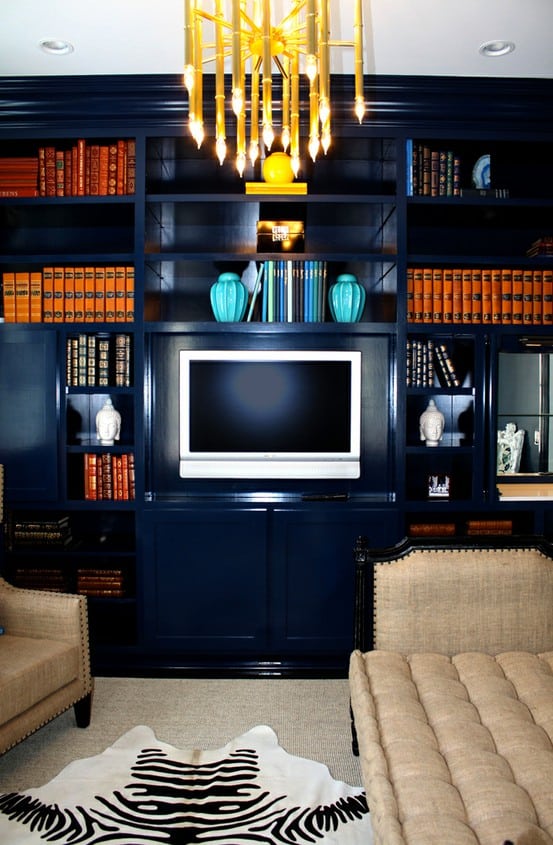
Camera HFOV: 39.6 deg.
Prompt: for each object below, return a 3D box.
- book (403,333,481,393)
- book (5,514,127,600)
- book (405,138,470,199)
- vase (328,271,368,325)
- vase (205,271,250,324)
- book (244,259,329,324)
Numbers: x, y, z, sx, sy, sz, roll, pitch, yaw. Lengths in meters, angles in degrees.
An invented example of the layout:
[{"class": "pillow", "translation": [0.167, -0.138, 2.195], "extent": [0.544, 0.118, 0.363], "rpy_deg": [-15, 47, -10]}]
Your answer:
[{"class": "book", "translation": [0.771, -0.267, 3.699], "extent": [0.280, 0.284, 0.068], "rpy_deg": [3, -5, 2]}, {"class": "book", "translation": [-0.996, 0.624, 3.700], "extent": [0.440, 0.441, 0.111], "rpy_deg": [-2, -19, -2]}, {"class": "book", "translation": [0.727, -1.154, 3.518], "extent": [0.256, 0.243, 0.041], "rpy_deg": [0, 5, -2]}, {"class": "vase", "translation": [0.326, -0.570, 3.598], "extent": [0.203, 0.308, 0.219], "rpy_deg": [-2, 5, -17]}, {"class": "vase", "translation": [-0.221, -0.576, 3.588], "extent": [0.206, 0.306, 0.215], "rpy_deg": [-5, 8, -30]}, {"class": "book", "translation": [0.053, -0.613, 3.607], "extent": [0.355, 0.271, 0.123], "rpy_deg": [1, 6, 7]}]
